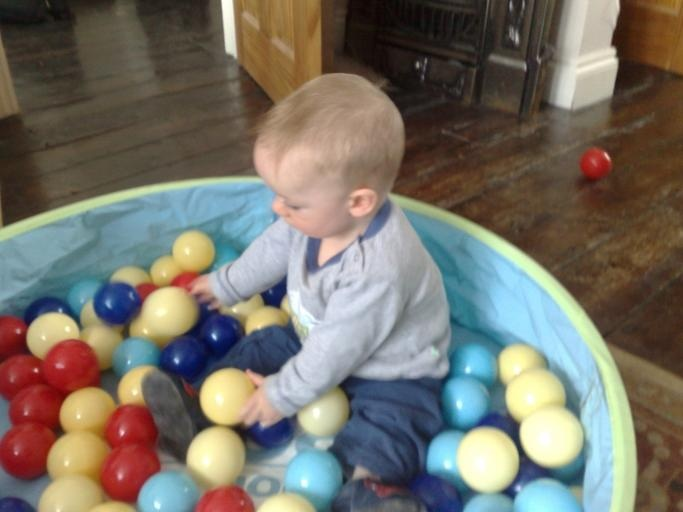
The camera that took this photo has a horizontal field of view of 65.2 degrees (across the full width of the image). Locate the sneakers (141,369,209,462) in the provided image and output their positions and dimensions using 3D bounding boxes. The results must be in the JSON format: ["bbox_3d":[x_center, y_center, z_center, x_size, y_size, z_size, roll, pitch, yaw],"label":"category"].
[{"bbox_3d":[-0.335,0.298,1.056,0.053,0.130,0.179,-19,74,27],"label":"sneakers"}]

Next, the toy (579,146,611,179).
[{"bbox_3d":[0.924,-0.329,1.959,0.103,0.121,0.129,0,71,16],"label":"toy"}]
